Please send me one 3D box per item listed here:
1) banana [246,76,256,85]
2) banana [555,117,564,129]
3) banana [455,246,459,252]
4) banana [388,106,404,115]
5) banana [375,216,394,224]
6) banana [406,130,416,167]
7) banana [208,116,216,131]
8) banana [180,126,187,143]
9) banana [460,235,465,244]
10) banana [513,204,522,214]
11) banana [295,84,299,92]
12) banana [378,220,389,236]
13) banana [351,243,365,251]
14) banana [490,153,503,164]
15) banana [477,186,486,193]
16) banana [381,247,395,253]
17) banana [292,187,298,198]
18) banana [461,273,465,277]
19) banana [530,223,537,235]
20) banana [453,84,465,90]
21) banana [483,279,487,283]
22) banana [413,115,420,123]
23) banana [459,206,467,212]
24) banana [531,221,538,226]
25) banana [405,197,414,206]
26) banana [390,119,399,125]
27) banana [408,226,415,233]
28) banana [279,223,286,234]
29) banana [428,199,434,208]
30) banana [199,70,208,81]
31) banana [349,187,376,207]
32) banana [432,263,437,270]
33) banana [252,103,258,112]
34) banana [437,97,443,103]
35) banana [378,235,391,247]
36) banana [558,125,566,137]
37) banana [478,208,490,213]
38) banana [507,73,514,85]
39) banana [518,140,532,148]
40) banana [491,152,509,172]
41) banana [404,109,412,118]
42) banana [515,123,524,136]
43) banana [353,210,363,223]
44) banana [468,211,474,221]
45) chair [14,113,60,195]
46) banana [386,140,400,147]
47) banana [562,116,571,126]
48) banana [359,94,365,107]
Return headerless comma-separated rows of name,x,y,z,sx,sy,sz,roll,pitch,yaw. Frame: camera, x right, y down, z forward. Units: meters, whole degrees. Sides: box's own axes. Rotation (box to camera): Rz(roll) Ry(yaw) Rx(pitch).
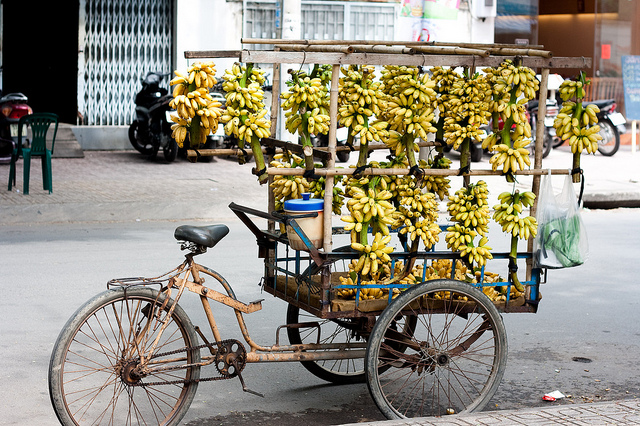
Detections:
banana,-0.608,-1.170,8.525,0.016,0.062,0.067,-3,-2,31
banana,2.072,-0.785,8.403,0.020,0.066,0.042,4,27,-38
banana,1.155,0.305,8.197,0.015,0.056,0.013,-7,39,-43
banana,0.643,-0.875,8.238,0.054,0.043,0.166,21,29,26
banana,0.549,0.063,8.090,0.175,0.059,0.046,18,11,-6
banana,0.760,-0.556,8.202,0.062,0.290,0.079,-6,-5,28
banana,-0.896,-0.759,8.181,0.036,0.125,0.046,-17,24,3
banana,-1.157,-0.676,8.275,0.054,0.115,0.163,1,9,-4
banana,1.201,0.223,8.198,0.034,0.050,0.031,2,4,2
banana,1.678,-0.038,8.224,0.086,0.070,0.041,-2,10,-23
banana,-0.196,-1.095,8.441,0.038,0.049,0.039,-1,0,2
banana,0.529,0.129,8.086,0.067,0.124,0.042,-10,4,27
banana,0.313,0.283,8.050,0.099,0.063,0.104,0,9,-6
banana,1.483,-0.458,8.224,0.146,0.046,0.039,-39,-1,-38
banana,1.371,-0.200,8.239,0.024,0.091,0.031,-37,17,47
banana,0.571,0.309,8.035,0.108,0.059,0.064,-5,11,-37
banana,-0.225,-0.174,8.453,0.042,0.069,0.021,37,10,-27
banana,1.233,0.538,8.368,0.026,0.026,0.080,7,0,10
banana,1.805,0.140,8.222,0.031,0.104,0.035,-38,21,-1
banana,1.204,-1.105,8.392,0.026,0.031,0.120,-25,37,-22
banana,1.431,0.598,8.443,0.036,0.023,0.036,-1,-7,31
banana,0.810,-0.797,8.148,0.037,0.048,0.026,41,16,-11
banana,1.215,-0.029,8.248,0.038,0.024,0.045,-16,-17,-46
banana,1.807,0.090,8.212,0.066,0.035,0.018,11,-14,-2
banana,0.756,-0.098,8.167,0.035,0.031,0.075,29,64,29
banana,0.626,-0.779,8.256,0.069,0.045,0.021,10,12,44
banana,0.765,0.139,8.136,0.053,0.040,0.040,-37,9,-2
banana,-0.324,0.137,8.646,0.061,0.076,0.069,-4,-4,6
banana,0.930,-0.079,8.200,0.028,0.082,0.024,-38,8,11
banana,-0.962,-1.154,8.102,0.046,0.089,0.030,-12,-4,-19
banana,0.350,-0.141,8.094,0.222,0.108,0.073,36,-14,3
banana,1.031,0.489,8.763,0.029,0.044,0.044,-1,2,-15
banana,-0.548,-0.903,8.255,0.032,0.058,0.019,-10,10,2
banana,1.036,-0.982,8.380,0.043,0.046,0.042,-3,1,-33
banana,0.550,0.231,8.048,0.069,0.088,0.154,9,11,40
banana,2.085,-0.709,8.356,0.023,0.085,0.029,14,-3,40
banana,1.411,-0.017,8.294,0.092,0.026,0.025,13,-11,-42
banana,1.598,-1.134,8.154,0.029,0.095,0.029,-2,30,-47
banana,1.720,-0.588,8.184,0.150,0.048,0.041,-25,9,-35
banana,1.522,-0.429,8.191,0.038,0.162,0.058,35,6,18
banana,0.744,-0.842,8.169,0.040,0.069,0.023,11,-16,7
banana,1.698,-0.714,8.247,0.055,0.103,0.035,-16,-5,11
banana,0.318,0.032,8.067,0.052,0.104,0.036,-31,8,1
banana,1.281,0.022,8.224,0.037,0.067,0.022,2,-4,7
chair,-4.289,-0.922,14.666,0.662,1.200,0.755,-1,5,-25
banana,0.619,-0.592,8.378,0.142,0.030,0.050,-9,42,36
banana,2.126,-0.797,8.380,0.046,0.085,0.029,36,1,22
banana,0.354,-0.953,8.181,0.044,0.105,0.039,4,10,15
